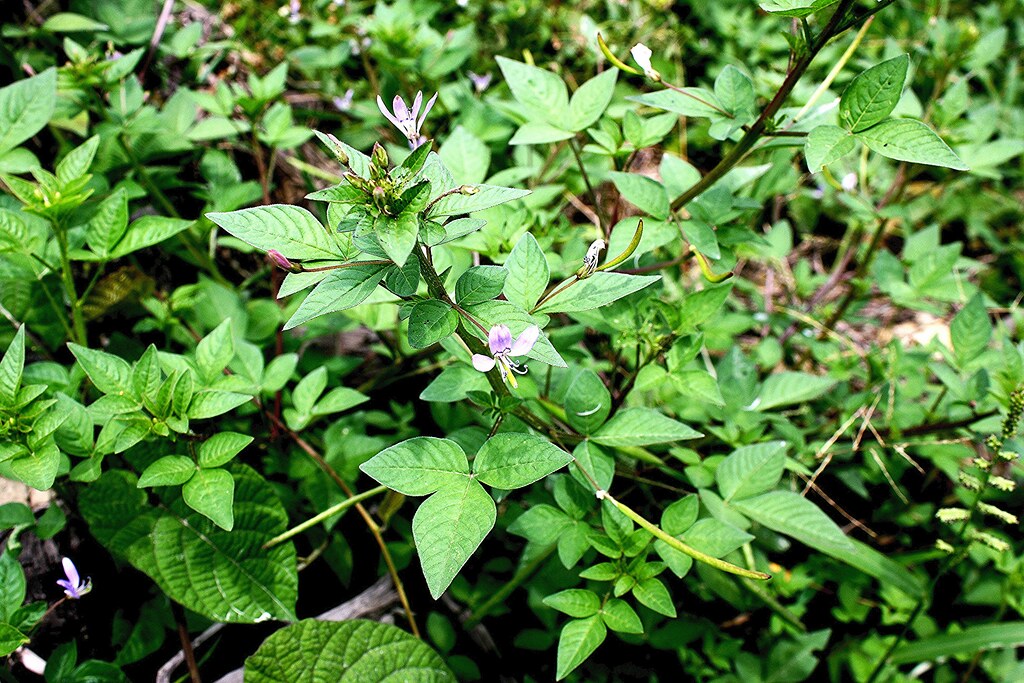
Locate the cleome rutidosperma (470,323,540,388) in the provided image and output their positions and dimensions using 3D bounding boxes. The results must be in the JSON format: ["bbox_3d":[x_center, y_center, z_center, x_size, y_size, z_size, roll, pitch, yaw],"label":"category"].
[{"bbox_3d":[-0.020,0.039,3.670,0.302,0.251,0.128,63,2,4],"label":"cleome rutidosperma"}]

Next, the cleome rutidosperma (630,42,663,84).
[{"bbox_3d":[0.630,-1.316,3.934,0.123,0.113,0.232,9,39,-27],"label":"cleome rutidosperma"}]
